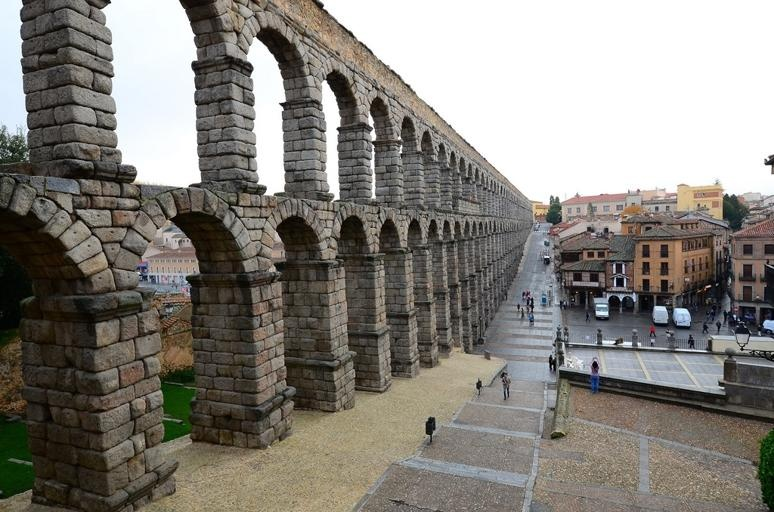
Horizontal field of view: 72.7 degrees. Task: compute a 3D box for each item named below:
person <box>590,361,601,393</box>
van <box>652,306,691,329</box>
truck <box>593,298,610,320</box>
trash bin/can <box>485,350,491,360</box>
[{"bbox_3d":[10.061,5.781,25.446,0.479,1.557,0.634,9,11,18],"label":"person"},{"bbox_3d":[23.826,4.992,44.111,1.816,1.185,3.344,1,9,28],"label":"van"},{"bbox_3d":[19.324,4.740,47.487,1.088,1.197,2.238,-2,-3,16],"label":"truck"},{"bbox_3d":[5.979,5.898,31.361,0.392,0.479,0.843,7,11,8],"label":"trash bin/can"}]
